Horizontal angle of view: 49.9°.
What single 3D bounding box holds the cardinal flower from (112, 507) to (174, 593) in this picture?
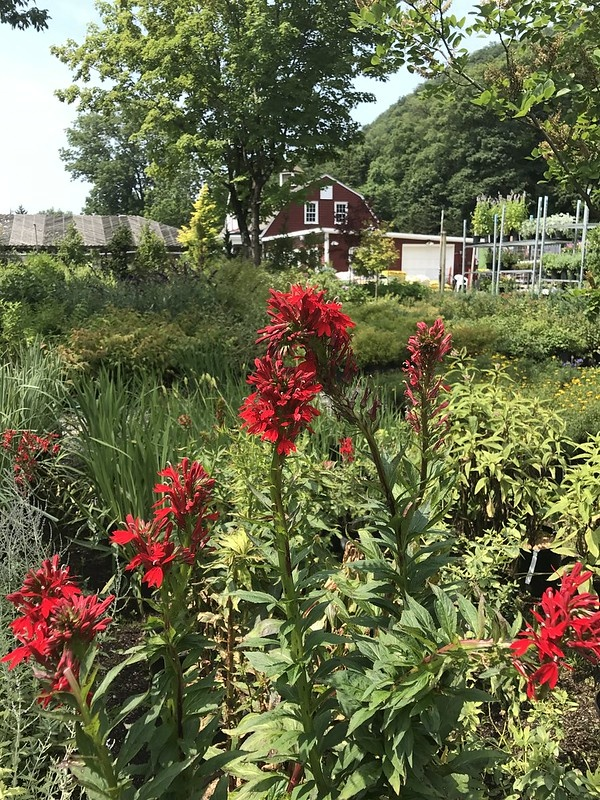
[{"bbox_3d":[-0.310,0.304,1.282,0.118,0.184,0.232,-3,7,-16],"label":"cardinal flower"}]
